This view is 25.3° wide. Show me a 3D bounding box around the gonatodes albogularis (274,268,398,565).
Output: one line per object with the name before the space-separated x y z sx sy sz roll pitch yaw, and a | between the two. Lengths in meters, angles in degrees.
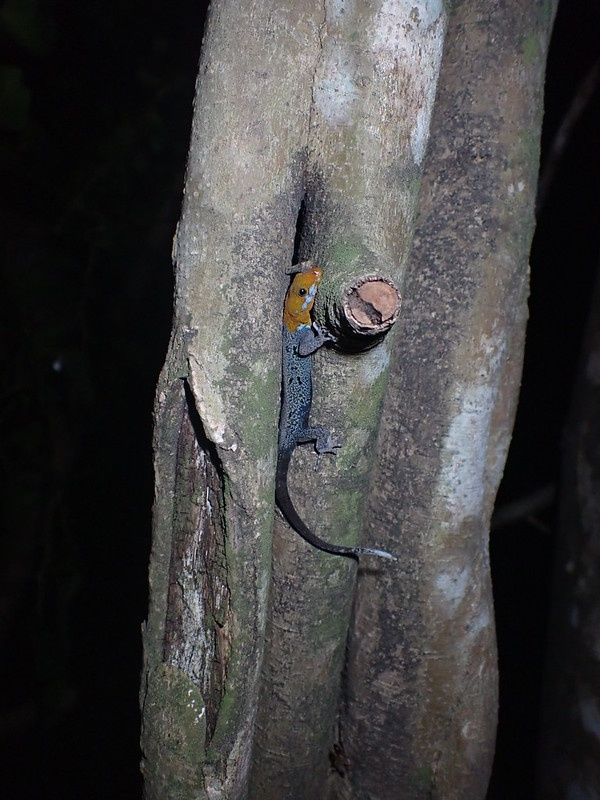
gonatodes albogularis | 0.064 0.042 5.375 0.108 1.206 0.380 -7 18 -36
